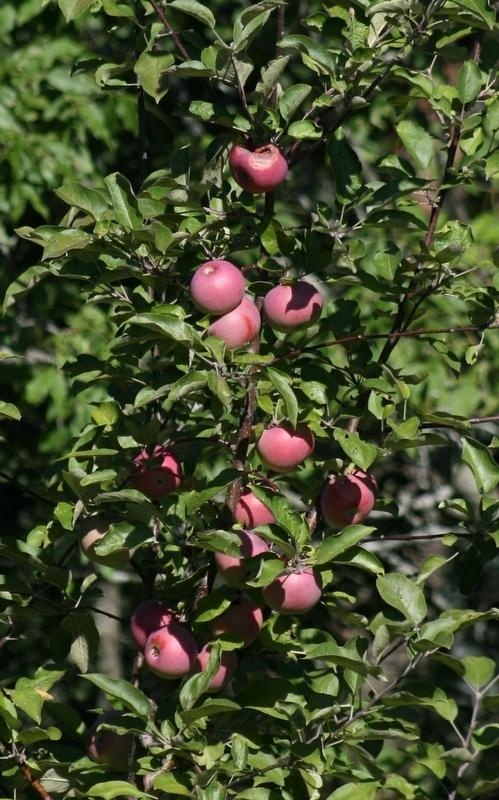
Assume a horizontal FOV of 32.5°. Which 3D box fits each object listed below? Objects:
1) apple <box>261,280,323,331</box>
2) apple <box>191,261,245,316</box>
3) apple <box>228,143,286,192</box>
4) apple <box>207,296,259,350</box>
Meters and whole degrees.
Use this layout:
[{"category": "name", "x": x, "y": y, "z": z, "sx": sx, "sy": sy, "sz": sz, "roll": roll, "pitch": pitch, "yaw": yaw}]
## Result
[{"category": "apple", "x": 0.073, "y": -0.159, "z": 1.466, "sx": 0.093, "sy": 0.076, "sz": 0.092, "roll": 0, "pitch": 7, "yaw": 30}, {"category": "apple", "x": -0.063, "y": -0.182, "z": 1.410, "sx": 0.106, "sy": 0.087, "sz": 0.094, "roll": 5, "pitch": 22, "yaw": 3}, {"category": "apple", "x": 0.013, "y": -0.381, "z": 1.427, "sx": 0.091, "sy": 0.063, "sz": 0.071, "roll": 5, "pitch": 47, "yaw": -5}, {"category": "apple", "x": -0.019, "y": -0.122, "z": 1.404, "sx": 0.093, "sy": 0.093, "sz": 0.083, "roll": -1, "pitch": 3, "yaw": -15}]
